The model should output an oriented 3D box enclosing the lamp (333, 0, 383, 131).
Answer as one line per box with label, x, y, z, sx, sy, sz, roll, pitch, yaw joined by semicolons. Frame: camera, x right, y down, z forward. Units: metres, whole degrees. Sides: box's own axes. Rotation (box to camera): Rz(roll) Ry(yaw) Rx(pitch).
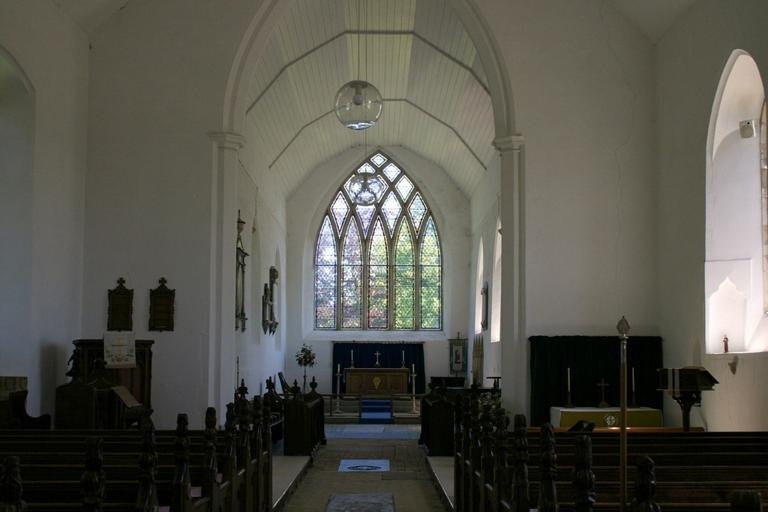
lamp;-0.519;-3.945;14.580;0.764;3.299;0.836;-9;-48;13
